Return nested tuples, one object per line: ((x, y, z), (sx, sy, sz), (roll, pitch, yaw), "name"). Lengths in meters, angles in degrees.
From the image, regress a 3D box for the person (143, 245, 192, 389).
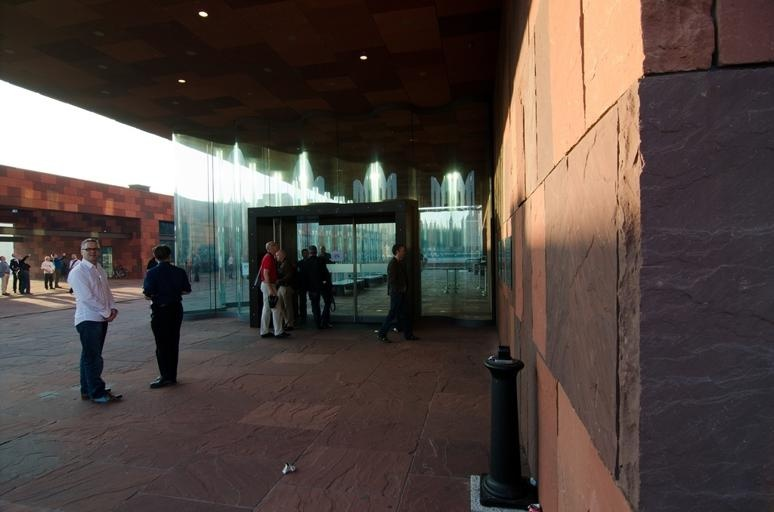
((-3.186, 0.862, 8.487), (0.617, 1.974, 0.631), (-3, 6, -20), "person")

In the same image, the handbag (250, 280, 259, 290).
((-2.877, 0.585, 12.574), (0.193, 0.295, 0.103), (2, -11, 17), "handbag")

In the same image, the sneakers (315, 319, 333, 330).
((-1.363, 1.498, 12.587), (0.388, 0.289, 0.136), (-3, 2, -19), "sneakers")

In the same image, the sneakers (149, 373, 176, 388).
((-3.223, 1.823, 8.391), (0.392, 0.173, 0.144), (4, -4, -28), "sneakers")

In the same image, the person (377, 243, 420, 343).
((0.208, 0.695, 11.409), (0.712, 1.868, 1.394), (0, 6, 1), "person")

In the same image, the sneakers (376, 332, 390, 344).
((-0.102, 1.533, 10.895), (0.312, 0.148, 0.111), (-2, 0, 42), "sneakers")

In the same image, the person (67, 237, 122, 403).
((-3.907, 0.866, 7.780), (0.529, 2.151, 0.547), (-4, 7, -31), "person")

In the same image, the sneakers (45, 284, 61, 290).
((-15.086, 1.435, 26.228), (0.663, 0.281, 0.210), (-3, -2, -1), "sneakers")
